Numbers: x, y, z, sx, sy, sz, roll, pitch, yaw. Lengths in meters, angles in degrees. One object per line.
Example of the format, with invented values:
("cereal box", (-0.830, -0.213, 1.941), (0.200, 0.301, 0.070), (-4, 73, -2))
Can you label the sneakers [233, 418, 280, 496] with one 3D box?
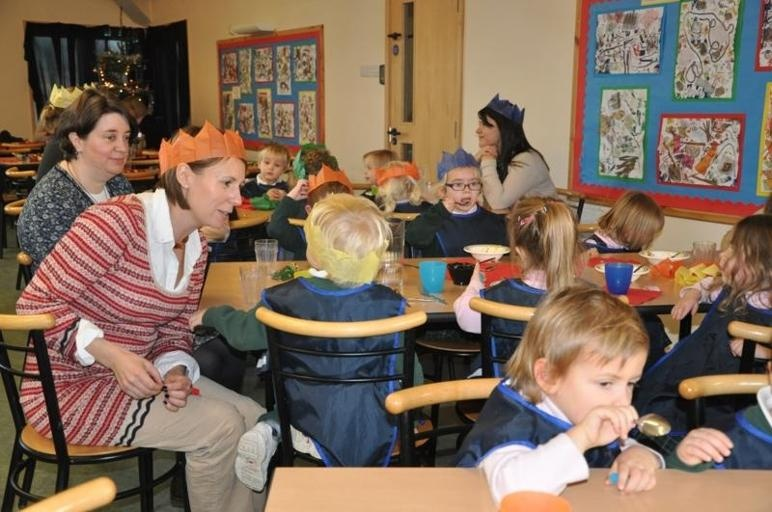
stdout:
("sneakers", (-0.452, 0.702, 2.229), (0.134, 0.236, 0.205), (4, 16, 16))

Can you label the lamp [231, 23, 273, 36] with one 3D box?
("lamp", (-1.727, -2.966, 8.083), (0.408, 0.078, 0.282), (6, 11, 31))

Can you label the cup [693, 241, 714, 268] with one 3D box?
("cup", (1.543, -0.016, 3.000), (0.112, 0.106, 0.102), (-1, 8, 0))

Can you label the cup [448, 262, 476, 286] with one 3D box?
("cup", (0.341, 0.079, 2.788), (0.114, 0.062, 0.104), (0, 0, 0))

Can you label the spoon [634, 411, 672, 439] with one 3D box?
("spoon", (0.675, 0.432, 1.577), (0.065, 0.064, 0.118), (4, 15, 16))

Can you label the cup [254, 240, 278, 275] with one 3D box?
("cup", (-0.561, 0.005, 2.892), (0.113, 0.150, 0.104), (0, 0, 0))

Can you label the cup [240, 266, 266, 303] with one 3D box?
("cup", (-0.572, 0.116, 2.648), (0.135, 0.149, 0.137), (-1, 4, 0))

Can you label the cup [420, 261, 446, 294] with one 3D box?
("cup", (0.200, 0.088, 2.746), (0.140, 0.142, 0.132), (2, 11, 0))
